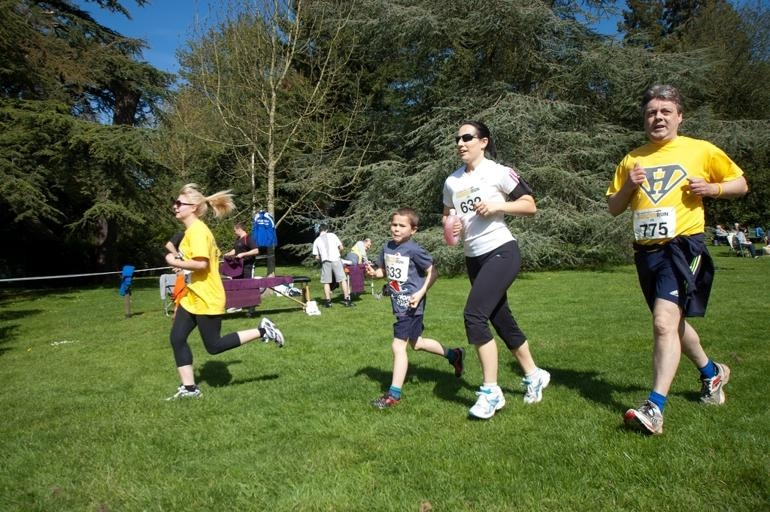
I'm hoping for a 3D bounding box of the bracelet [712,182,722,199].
[{"bbox_3d":[3.489,-0.689,5.224,0.041,0.148,0.153,6,10,-6],"label":"bracelet"}]

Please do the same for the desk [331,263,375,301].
[{"bbox_3d":[-1.033,0.563,13.936,0.779,0.841,0.950,15,12,42],"label":"desk"}]

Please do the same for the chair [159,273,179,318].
[{"bbox_3d":[-5.321,0.998,12.508,0.671,0.843,0.612,12,-11,-24],"label":"chair"}]

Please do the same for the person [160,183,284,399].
[{"bbox_3d":[-2.380,0.408,6.926,1.416,2.857,1.005,-5,7,-9],"label":"person"}]

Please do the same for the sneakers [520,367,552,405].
[{"bbox_3d":[1.766,1.519,6.009,0.272,0.571,0.202,24,-12,-20],"label":"sneakers"}]

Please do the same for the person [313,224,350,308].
[{"bbox_3d":[-1.427,0.233,13.180,0.839,2.197,0.820,-7,1,0],"label":"person"}]

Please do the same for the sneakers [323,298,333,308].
[{"bbox_3d":[-1.453,1.264,13.020,0.284,0.277,0.128,12,-16,-41],"label":"sneakers"}]

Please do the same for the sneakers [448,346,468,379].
[{"bbox_3d":[0.933,1.391,6.636,0.205,0.454,0.163,-21,14,-24],"label":"sneakers"}]

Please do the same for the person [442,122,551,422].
[{"bbox_3d":[1.224,0.123,5.790,1.037,3.395,0.875,-3,7,6],"label":"person"}]

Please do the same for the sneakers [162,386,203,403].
[{"bbox_3d":[-2.642,1.857,6.653,0.554,0.238,0.186,1,-8,-5],"label":"sneakers"}]

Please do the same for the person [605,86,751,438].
[{"bbox_3d":[2.973,-0.064,5.463,1.388,3.604,0.883,-7,8,-26],"label":"person"}]

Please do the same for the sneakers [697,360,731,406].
[{"bbox_3d":[3.689,1.392,5.631,0.271,0.579,0.227,14,-15,-7],"label":"sneakers"}]

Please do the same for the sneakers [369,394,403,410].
[{"bbox_3d":[-0.003,1.820,6.155,0.331,0.152,0.144,2,-6,-7],"label":"sneakers"}]
